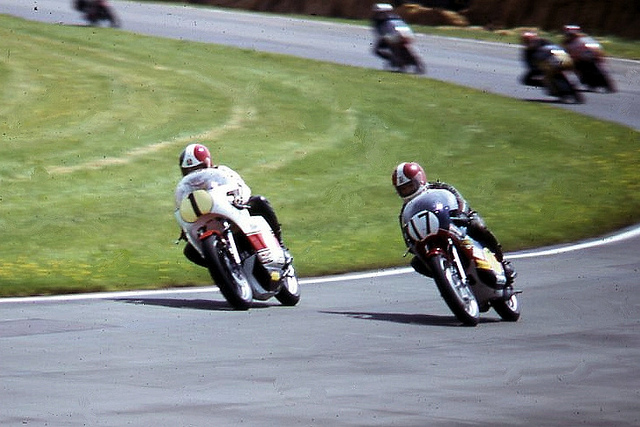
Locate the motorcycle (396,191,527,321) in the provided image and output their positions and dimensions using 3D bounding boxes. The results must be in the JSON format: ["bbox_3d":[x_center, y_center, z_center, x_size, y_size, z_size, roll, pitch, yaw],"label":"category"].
[{"bbox_3d":[2.244,0.755,17.890,1.540,1.939,1.757,-12,40,-16],"label":"motorcycle"}]

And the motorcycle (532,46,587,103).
[{"bbox_3d":[6.411,-3.869,32.153,0.529,1.301,1.347,-23,44,-26],"label":"motorcycle"}]

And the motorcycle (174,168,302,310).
[{"bbox_3d":[-1.333,0.381,18.428,1.345,1.702,1.891,-17,41,-21],"label":"motorcycle"}]
